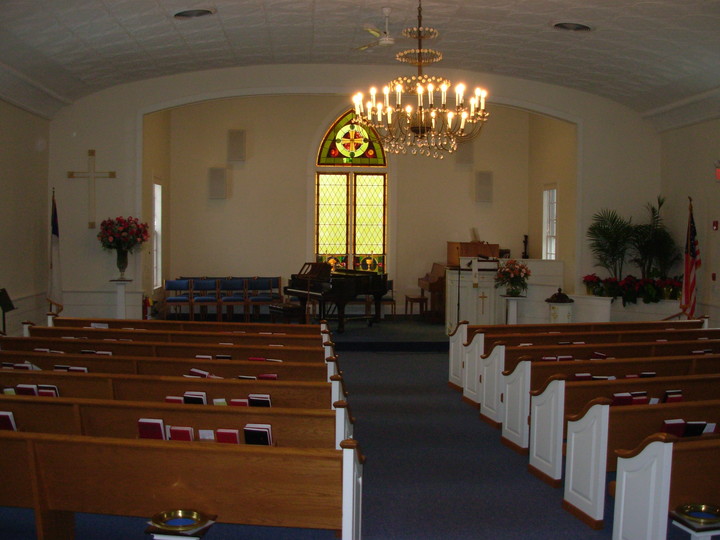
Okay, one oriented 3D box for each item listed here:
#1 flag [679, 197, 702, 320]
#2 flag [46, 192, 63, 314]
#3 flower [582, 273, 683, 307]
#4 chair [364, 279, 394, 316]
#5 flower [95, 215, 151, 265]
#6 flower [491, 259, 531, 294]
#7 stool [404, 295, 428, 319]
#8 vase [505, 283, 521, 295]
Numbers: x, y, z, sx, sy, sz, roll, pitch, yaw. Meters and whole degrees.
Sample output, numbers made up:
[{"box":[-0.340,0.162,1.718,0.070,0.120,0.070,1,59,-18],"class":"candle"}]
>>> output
[{"box":[5.612,-0.225,10.487,0.304,2.102,0.867,0,0,29],"class":"flag"},{"box":[-5.348,-0.320,10.836,0.232,2.244,0.824,0,0,-27],"class":"flag"},{"box":[4.842,0.360,10.931,1.617,0.534,0.447,0,0,8],"class":"flower"},{"box":[0.490,0.642,13.670,0.549,1.130,0.799,0,-4,18],"class":"chair"},{"box":[-4.308,-0.634,11.340,0.807,0.984,0.900,-1,9,-12],"class":"flower"},{"box":[2.572,0.124,10.588,0.529,0.640,0.580,0,1,16],"class":"flower"},{"box":[1.301,0.821,14.385,0.553,0.592,0.427,0,0,-7],"class":"stool"},{"box":[2.605,0.334,10.566,0.167,0.143,0.180,0,-4,0],"class":"vase"}]
